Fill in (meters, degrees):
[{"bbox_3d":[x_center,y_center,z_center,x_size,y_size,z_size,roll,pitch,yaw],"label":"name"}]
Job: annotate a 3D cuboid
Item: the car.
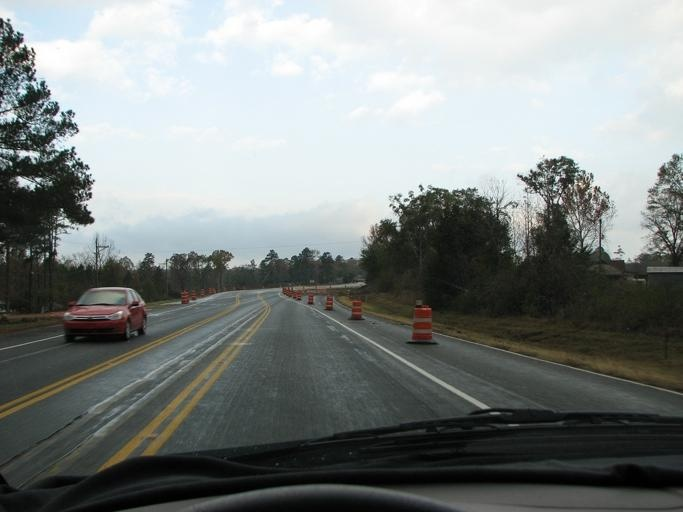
[{"bbox_3d":[-6.956,1.735,19.116,1.267,1.011,2.675,-2,-9,1],"label":"car"}]
